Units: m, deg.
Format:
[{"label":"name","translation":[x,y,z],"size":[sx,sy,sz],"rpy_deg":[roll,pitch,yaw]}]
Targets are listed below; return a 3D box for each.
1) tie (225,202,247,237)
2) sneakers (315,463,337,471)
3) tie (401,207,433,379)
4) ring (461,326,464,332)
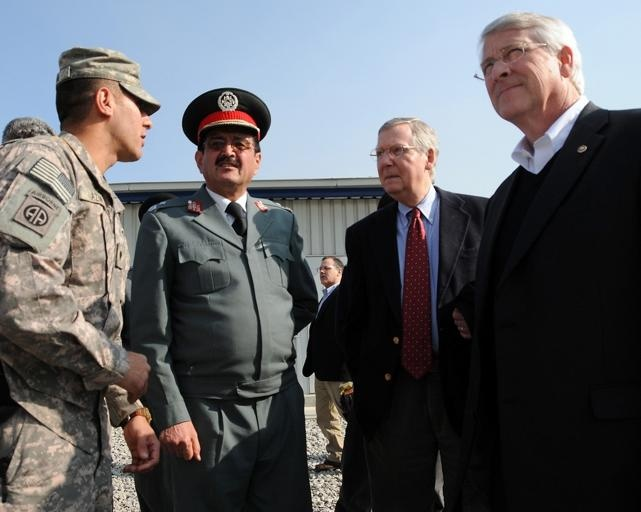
[{"label":"tie","translation":[-0.439,-0.205,3.979],"size":[0.096,0.192,0.068],"rpy_deg":[-19,-8,4]},{"label":"sneakers","translation":[0.046,1.861,6.658],"size":[0.186,0.088,0.071],"rpy_deg":[4,-5,5]},{"label":"tie","translation":[0.518,0.191,4.192],"size":[0.188,0.968,0.117],"rpy_deg":[-4,-15,8]},{"label":"ring","translation":[0.692,0.356,3.679],"size":[0.016,0.004,0.018],"rpy_deg":[30,-13,27]}]
